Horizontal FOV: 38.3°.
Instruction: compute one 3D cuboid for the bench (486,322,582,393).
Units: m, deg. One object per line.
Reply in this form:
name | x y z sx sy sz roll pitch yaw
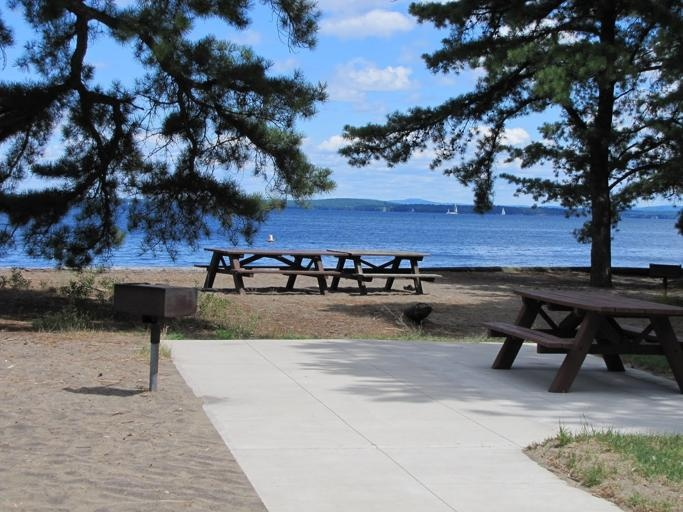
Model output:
bench | 2.250 1.090 11.653 0.493 0.693 1.361 16 0 -12
